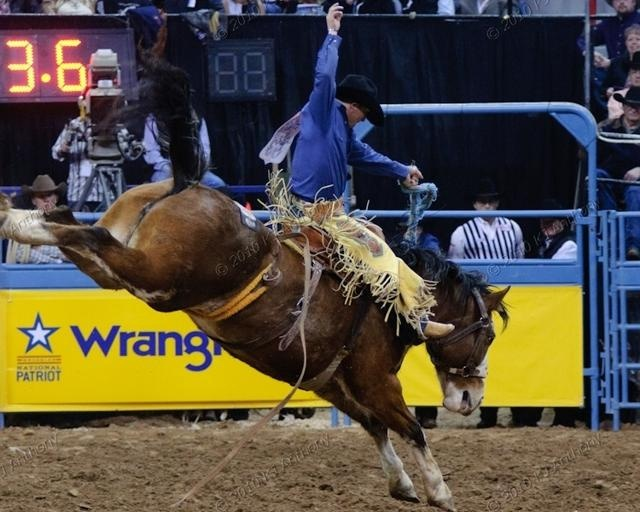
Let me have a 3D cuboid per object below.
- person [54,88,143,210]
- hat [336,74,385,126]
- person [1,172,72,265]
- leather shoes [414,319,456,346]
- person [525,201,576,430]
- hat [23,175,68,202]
[{"bbox_3d":[-1.852,-0.810,13.225,0.761,1.051,0.822,1,-8,-23],"label":"person"},{"bbox_3d":[0.319,-1.177,11.369,0.378,0.150,0.296,28,-15,20],"label":"hat"},{"bbox_3d":[-2.204,-0.267,11.816,0.463,0.767,0.217,9,-20,-13],"label":"person"},{"bbox_3d":[0.822,0.545,11.193,0.332,0.133,0.115,2,-4,-5],"label":"leather shoes"},{"bbox_3d":[2.069,0.517,13.614,0.461,1.865,1.162,-1,4,8],"label":"person"},{"bbox_3d":[-2.488,-0.601,13.684,0.278,0.116,0.298,-4,-3,-6],"label":"hat"}]
